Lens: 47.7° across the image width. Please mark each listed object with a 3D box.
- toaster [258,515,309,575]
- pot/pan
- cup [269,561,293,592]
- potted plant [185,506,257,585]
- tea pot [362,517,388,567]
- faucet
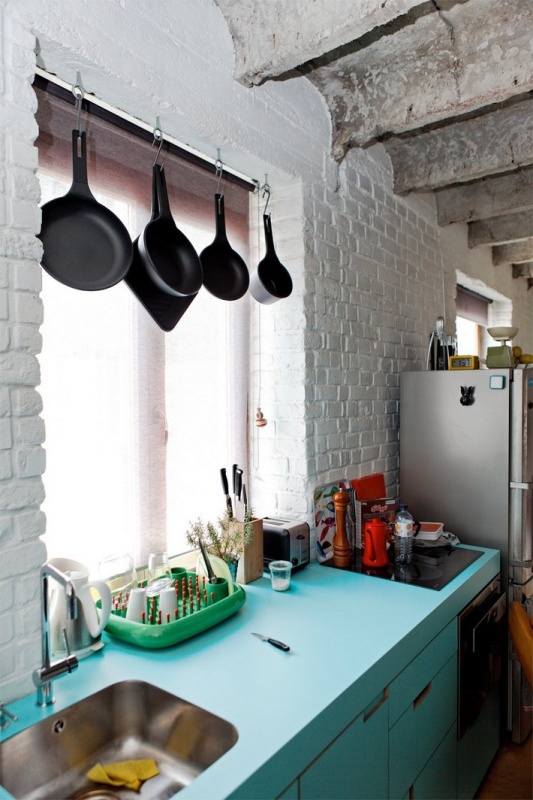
[{"bbox_3d":[0.081,0.439,1.900,0.134,0.191,0.242,-4,1,-35],"label":"toaster"},{"bbox_3d":[-0.212,-0.416,1.523,0.116,0.478,0.817,0,2,29],"label":"pot/pan"},{"bbox_3d":[0.041,0.504,1.731,0.070,0.067,0.072,0,3,0],"label":"cup"},{"bbox_3d":[-0.144,0.412,1.790,0.218,0.220,0.139,2,7,-37],"label":"potted plant"},{"bbox_3d":[0.362,0.472,2.011,0.081,0.142,0.166,0,2,9],"label":"tea pot"},{"bbox_3d":[-0.412,0.429,1.171,0.071,0.254,0.266,-1,2,-20],"label":"faucet"}]
